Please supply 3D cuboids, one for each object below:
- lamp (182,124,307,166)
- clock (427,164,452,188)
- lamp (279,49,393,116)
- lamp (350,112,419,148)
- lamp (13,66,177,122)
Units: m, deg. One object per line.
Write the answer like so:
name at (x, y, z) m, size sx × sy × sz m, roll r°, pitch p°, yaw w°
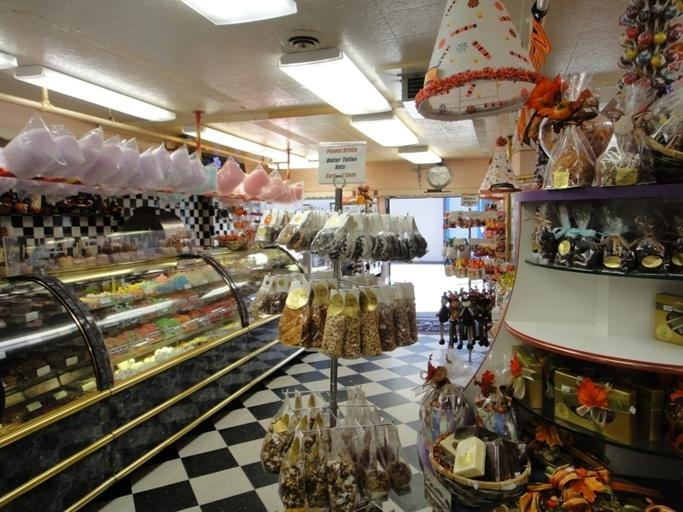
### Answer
lamp at (-1.588, -1.851, 7.198) m, size 0.934 × 0.351 × 2.185 m, roll 5°, pitch 5°, yaw 34°
clock at (2.069, -1.717, 9.203) m, size 0.472 × 0.520 × 0.181 m, roll 2°, pitch 11°, yaw 4°
lamp at (0.001, -1.731, 4.335) m, size 0.609 × 0.265 × 1.478 m, roll 4°, pitch 9°, yaw 21°
lamp at (0.630, -1.747, 5.913) m, size 0.604 × 0.196 × 1.577 m, roll 3°, pitch 9°, yaw 16°
lamp at (-2.595, -1.774, 4.723) m, size 0.518 × 0.211 × 1.554 m, roll 4°, pitch 9°, yaw 18°
